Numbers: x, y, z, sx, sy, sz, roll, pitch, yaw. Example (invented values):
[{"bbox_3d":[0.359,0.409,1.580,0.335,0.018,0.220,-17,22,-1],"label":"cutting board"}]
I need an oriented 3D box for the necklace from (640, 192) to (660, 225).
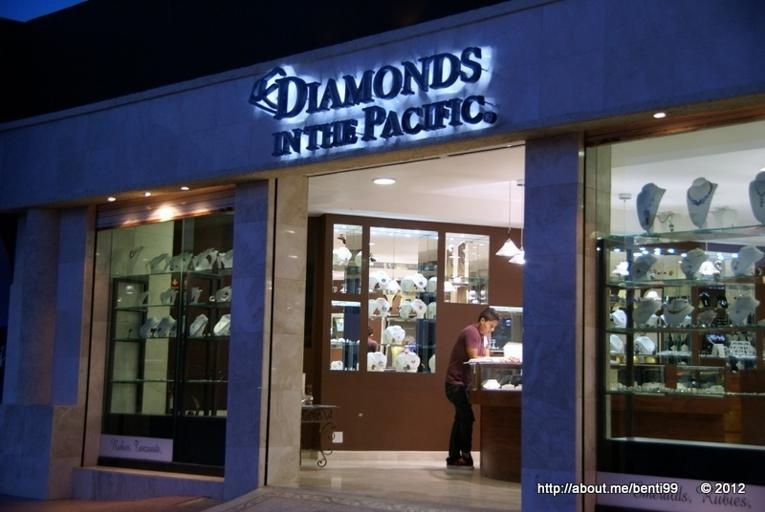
[{"bbox_3d":[2.408,-0.419,5.857,0.196,0.323,0.066,-2,-10,14],"label":"necklace"}]

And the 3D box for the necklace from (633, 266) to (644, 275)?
[{"bbox_3d":[2.334,0.131,5.879,0.069,0.069,0.029,11,-9,23],"label":"necklace"}]

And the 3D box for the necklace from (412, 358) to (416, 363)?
[{"bbox_3d":[0.559,1.808,11.221,0.085,0.037,0.049,-18,15,-40],"label":"necklace"}]

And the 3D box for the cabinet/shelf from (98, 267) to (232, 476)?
[{"bbox_3d":[-2.483,1.489,8.420,2.127,2.352,0.722,-5,-10,22],"label":"cabinet/shelf"}]

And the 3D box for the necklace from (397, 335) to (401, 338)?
[{"bbox_3d":[0.288,1.391,11.230,0.055,0.055,0.013,3,-5,-7],"label":"necklace"}]

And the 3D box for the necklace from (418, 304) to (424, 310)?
[{"bbox_3d":[0.682,0.897,11.309,0.083,0.062,0.083,1,2,12],"label":"necklace"}]

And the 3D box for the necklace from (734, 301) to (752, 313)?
[{"bbox_3d":[3.058,0.418,5.477,0.085,0.092,0.086,21,-28,31],"label":"necklace"}]

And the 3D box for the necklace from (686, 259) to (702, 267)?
[{"bbox_3d":[2.751,0.062,5.707,0.077,0.071,0.018,7,2,20],"label":"necklace"}]

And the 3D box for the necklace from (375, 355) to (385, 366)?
[{"bbox_3d":[-0.012,1.785,11.088,0.141,0.184,0.186,-6,3,-29],"label":"necklace"}]
